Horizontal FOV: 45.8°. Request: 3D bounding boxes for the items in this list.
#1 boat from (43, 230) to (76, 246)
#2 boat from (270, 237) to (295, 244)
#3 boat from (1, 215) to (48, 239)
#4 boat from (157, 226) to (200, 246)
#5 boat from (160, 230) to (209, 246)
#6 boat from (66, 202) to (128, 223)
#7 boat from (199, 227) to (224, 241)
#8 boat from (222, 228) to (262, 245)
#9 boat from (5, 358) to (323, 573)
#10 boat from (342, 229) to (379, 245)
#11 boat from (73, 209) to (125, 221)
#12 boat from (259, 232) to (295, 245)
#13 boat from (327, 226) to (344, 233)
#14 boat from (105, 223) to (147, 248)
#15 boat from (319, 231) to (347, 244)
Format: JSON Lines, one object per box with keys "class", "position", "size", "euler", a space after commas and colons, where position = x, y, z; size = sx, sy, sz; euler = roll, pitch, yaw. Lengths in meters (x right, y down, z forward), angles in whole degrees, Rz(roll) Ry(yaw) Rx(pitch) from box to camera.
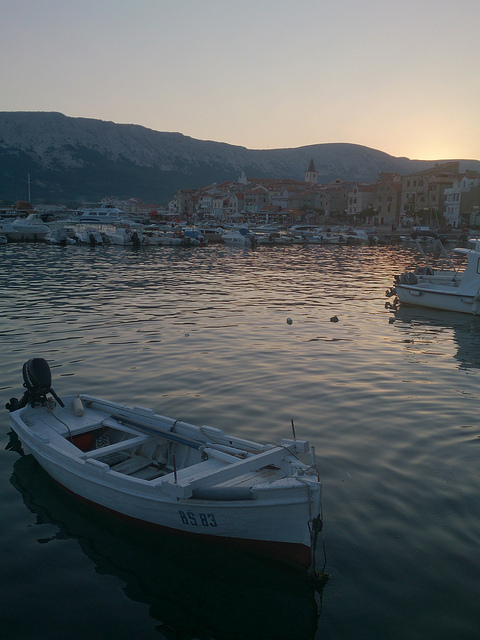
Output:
{"class": "boat", "position": [-21.900, -9.844, 68.583], "size": [3.198, 1.180, 1.947], "euler": [8, 20, 25]}
{"class": "boat", "position": [6.190, -11.250, 80.873], "size": [2.667, 0.813, 0.777], "euler": [1, 6, 3]}
{"class": "boat", "position": [-26.336, -11.503, 70.040], "size": [4.472, 3.006, 1.888], "euler": [-4, 8, -39]}
{"class": "boat", "position": [-8.637, -10.982, 76.477], "size": [6.376, 2.063, 2.760], "euler": [20, 23, 41]}
{"class": "boat", "position": [-7.232, -10.317, 75.177], "size": [5.871, 1.999, 2.194], "euler": [-1, 29, 1]}
{"class": "boat", "position": [-24.506, -18.047, 98.625], "size": [7.574, 3.035, 12.853], "euler": [0, 6, -7]}
{"class": "boat", "position": [-4.343, -13.151, 87.421], "size": [4.491, 1.627, 7.037], "euler": [0, 18, -8]}
{"class": "boat", "position": [0.090, -11.210, 78.967], "size": [3.034, 1.854, 5.761], "euler": [-10, 16, -32]}
{"class": "boat", "position": [-1.479, 2.530, 9.190], "size": [2.173, 2.143, 6.550], "euler": [-21, 21, -36]}
{"class": "boat", "position": [18.183, -12.240, 83.935], "size": [4.124, 2.347, 6.667], "euler": [4, 7, 31]}
{"class": "boat", "position": [-23.893, -17.889, 97.125], "size": [8.755, 1.971, 5.595], "euler": [-2, 13, -8]}
{"class": "boat", "position": [5.324, -11.524, 81.223], "size": [4.263, 1.452, 2.097], "euler": [-1, 21, -6]}
{"class": "boat", "position": [15.940, -15.328, 96.109], "size": [3.472, 1.347, 5.395], "euler": [1, 8, 12]}
{"class": "boat", "position": [-14.194, -10.101, 70.803], "size": [4.771, 2.239, 2.649], "euler": [5, 7, 38]}
{"class": "boat", "position": [13.333, -11.753, 81.262], "size": [3.983, 1.035, 1.542], "euler": [1, 19, -15]}
